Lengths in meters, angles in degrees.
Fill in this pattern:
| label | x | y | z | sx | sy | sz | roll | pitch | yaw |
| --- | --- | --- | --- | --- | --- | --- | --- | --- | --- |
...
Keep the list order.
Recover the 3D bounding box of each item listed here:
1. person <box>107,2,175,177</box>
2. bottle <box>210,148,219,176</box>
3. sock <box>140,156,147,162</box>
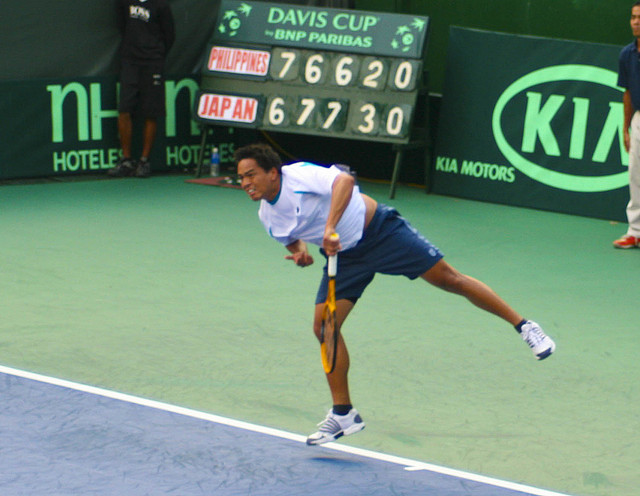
| label | x | y | z | sx | sy | sz | roll | pitch | yaw |
| --- | --- | --- | --- | --- | --- | --- | --- | --- | --- |
| person | -2.900 | -2.585 | 11.148 | 0.832 | 2.853 | 0.489 | 3 | 5 | -15 |
| bottle | -1.812 | -1.498 | 11.714 | 0.151 | 0.467 | 0.388 | 3 | 5 | -10 |
| sock | -2.958 | -1.503 | 11.375 | 0.107 | 0.093 | 0.074 | 4 | 5 | -6 |
